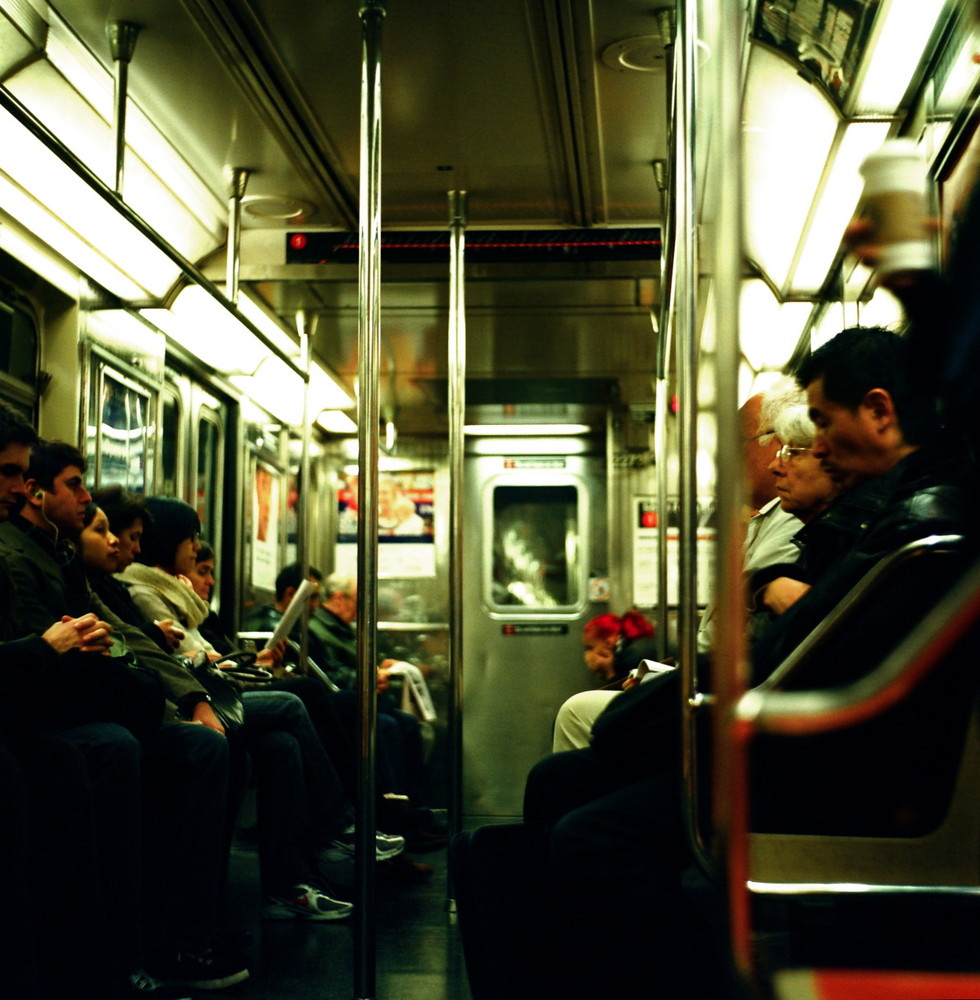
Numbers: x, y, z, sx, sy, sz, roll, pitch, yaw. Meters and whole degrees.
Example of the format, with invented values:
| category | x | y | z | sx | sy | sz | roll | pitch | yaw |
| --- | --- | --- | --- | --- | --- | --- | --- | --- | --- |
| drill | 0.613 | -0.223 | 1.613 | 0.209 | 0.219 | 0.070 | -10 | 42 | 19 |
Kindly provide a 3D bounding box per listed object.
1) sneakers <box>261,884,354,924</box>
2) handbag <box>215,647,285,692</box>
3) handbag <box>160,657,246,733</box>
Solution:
| category | x | y | z | sx | sy | sz | roll | pitch | yaw |
| --- | --- | --- | --- | --- | --- | --- | --- | --- | --- |
| sneakers | -0.687 | 1.512 | 4.651 | 0.325 | 0.155 | 0.125 | 2 | -4 | 1 |
| handbag | -1.020 | 0.708 | 5.204 | 0.186 | 0.111 | 0.342 | 4 | -16 | 1 |
| handbag | -0.991 | 0.632 | 4.330 | 0.289 | 0.133 | 0.221 | 26 | -6 | -12 |
